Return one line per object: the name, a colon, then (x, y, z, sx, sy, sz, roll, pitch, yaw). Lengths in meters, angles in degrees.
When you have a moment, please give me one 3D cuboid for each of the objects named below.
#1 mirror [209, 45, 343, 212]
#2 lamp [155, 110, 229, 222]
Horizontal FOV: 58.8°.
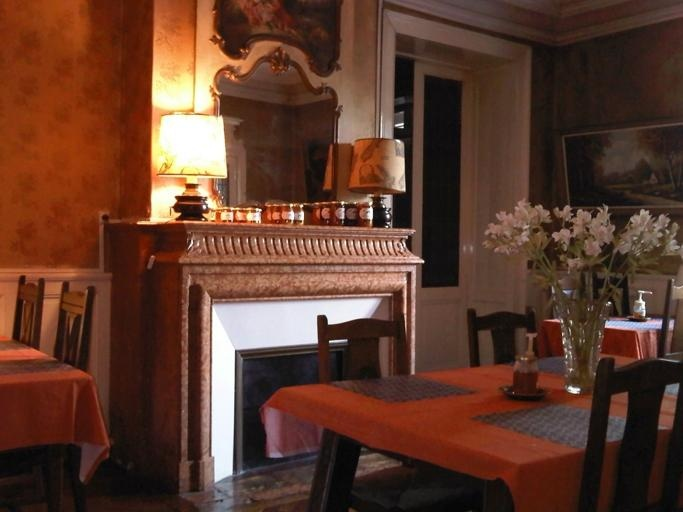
mirror: (-0.517, -0.912, 4.409, 1.240, 1.578, 0.074, -2, 6, -38)
lamp: (-0.982, -0.536, 3.973, 0.415, 0.673, 0.418, 1, 0, 2)
